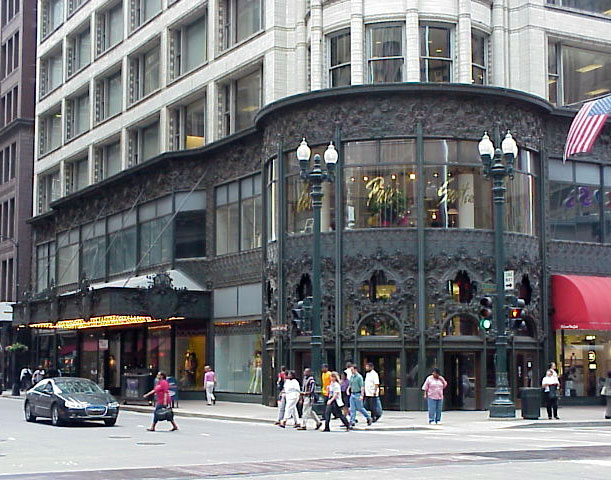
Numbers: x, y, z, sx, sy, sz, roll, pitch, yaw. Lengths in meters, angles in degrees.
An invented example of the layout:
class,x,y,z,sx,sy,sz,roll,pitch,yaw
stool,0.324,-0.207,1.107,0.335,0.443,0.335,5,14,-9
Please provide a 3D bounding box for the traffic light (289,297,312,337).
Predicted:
class,x,y,z,sx,sy,sz,roll,pitch,yaw
traffic light,-0.133,2.951,44.777,0.744,1.396,0.910,1,-13,-8

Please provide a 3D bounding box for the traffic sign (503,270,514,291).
class,x,y,z,sx,sy,sz,roll,pitch,yaw
traffic sign,8.062,1.649,46.162,0.088,0.982,0.761,1,-4,-20

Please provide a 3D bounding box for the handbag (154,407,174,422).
class,x,y,z,sx,sy,sz,roll,pitch,yaw
handbag,-5.123,6.286,41.711,0.628,0.517,0.473,0,-9,-20

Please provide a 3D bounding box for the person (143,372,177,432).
class,x,y,z,sx,sy,sz,roll,pitch,yaw
person,-5.042,5.863,42.192,1.048,2.439,1.298,2,-3,-30

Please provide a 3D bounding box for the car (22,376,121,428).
class,x,y,z,sx,sy,sz,roll,pitch,yaw
car,-9.366,6.418,45.875,2.502,1.992,5.664,5,-7,-30

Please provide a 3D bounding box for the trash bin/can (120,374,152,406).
class,x,y,z,sx,sy,sz,roll,pitch,yaw
trash bin/can,-7.971,7.128,55.040,1.015,1.878,1.892,2,-3,-41

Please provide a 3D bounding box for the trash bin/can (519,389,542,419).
class,x,y,z,sx,sy,sz,roll,pitch,yaw
trash bin/can,8.752,6.386,45.039,0.693,1.261,1.199,-3,-11,10
